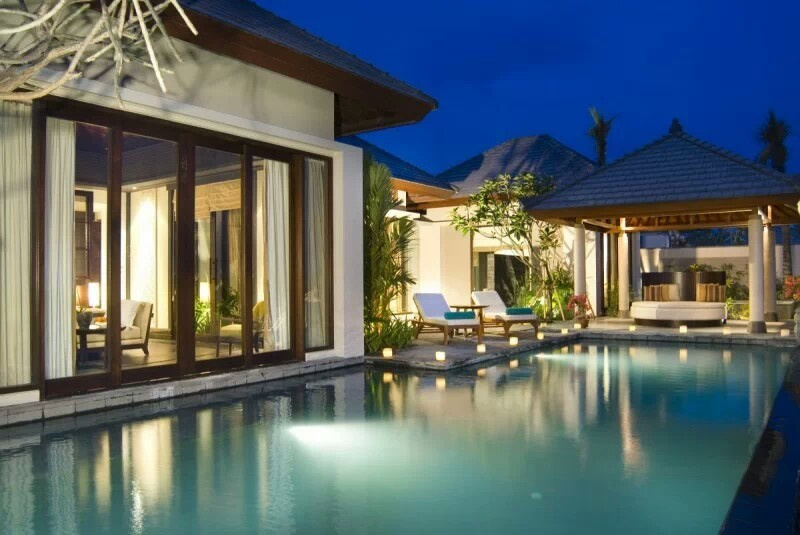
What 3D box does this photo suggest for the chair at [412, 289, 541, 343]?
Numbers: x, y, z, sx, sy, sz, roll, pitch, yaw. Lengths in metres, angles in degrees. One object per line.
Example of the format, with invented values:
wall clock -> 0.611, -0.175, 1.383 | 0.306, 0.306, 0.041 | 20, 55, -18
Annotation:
chair -> 1.430, 1.090, 14.355 | 1.631, 1.145, 3.037 | 5, 8, 35

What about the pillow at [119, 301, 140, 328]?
pillow -> -4.348, 0.744, 10.863 | 0.398, 0.385, 0.118 | 0, -17, 39

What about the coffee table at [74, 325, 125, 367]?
coffee table -> -4.269, 1.045, 9.380 | 0.696, 0.610, 0.682 | 0, 1, -37

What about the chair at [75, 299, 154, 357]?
chair -> -4.812, 0.937, 10.757 | 1.584, 0.792, 1.521 | -1, 5, -22

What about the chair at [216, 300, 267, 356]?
chair -> -2.423, 0.954, 10.765 | 0.774, 0.942, 0.742 | 0, -24, -37

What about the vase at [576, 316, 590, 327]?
vase -> 4.354, 1.291, 16.125 | 0.278, 0.259, 0.278 | -3, 3, -17

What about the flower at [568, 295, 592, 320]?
flower -> 4.356, 0.932, 16.530 | 0.465, 0.526, 0.810 | 2, 7, 13
